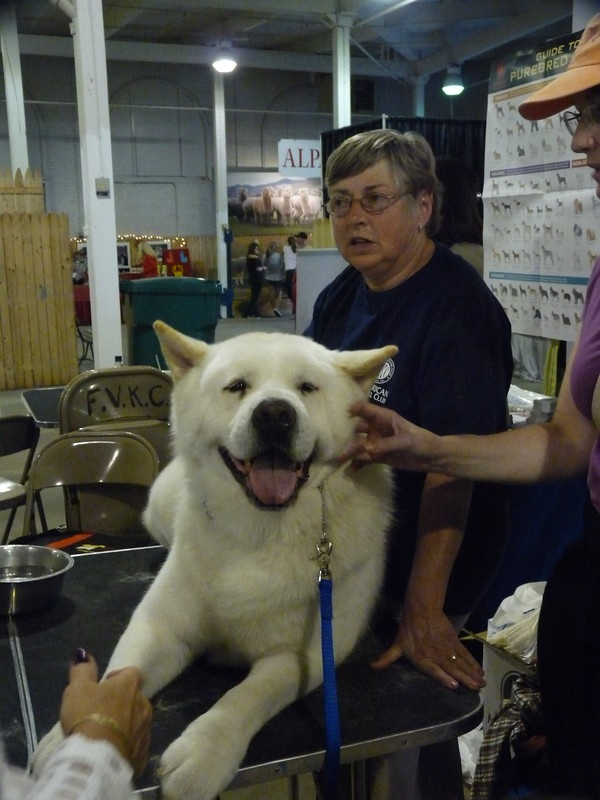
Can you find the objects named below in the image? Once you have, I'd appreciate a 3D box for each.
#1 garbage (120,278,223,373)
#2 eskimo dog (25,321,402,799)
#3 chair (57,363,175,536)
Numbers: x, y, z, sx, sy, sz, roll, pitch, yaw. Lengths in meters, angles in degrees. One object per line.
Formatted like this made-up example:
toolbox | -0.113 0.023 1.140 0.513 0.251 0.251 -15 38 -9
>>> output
garbage | -1.402 -0.852 8.171 1.070 1.360 1.132 -1 16 -9
eskimo dog | -0.045 0.236 1.492 0.492 0.509 0.939 2 12 10
chair | -0.962 0.237 3.749 0.533 0.804 0.477 2 10 -22
